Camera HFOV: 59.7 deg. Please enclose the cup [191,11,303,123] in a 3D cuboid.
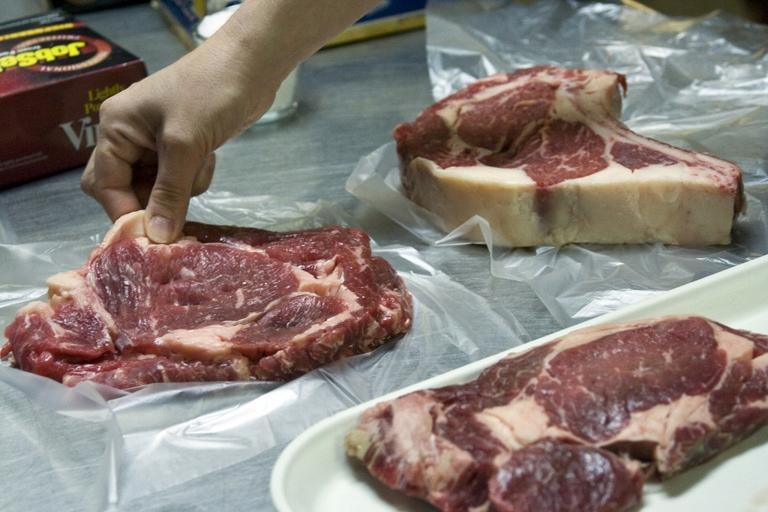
[{"bbox_3d":[-0.487,-0.671,2.467,0.455,0.309,0.434,-9,30,5],"label":"cup"}]
